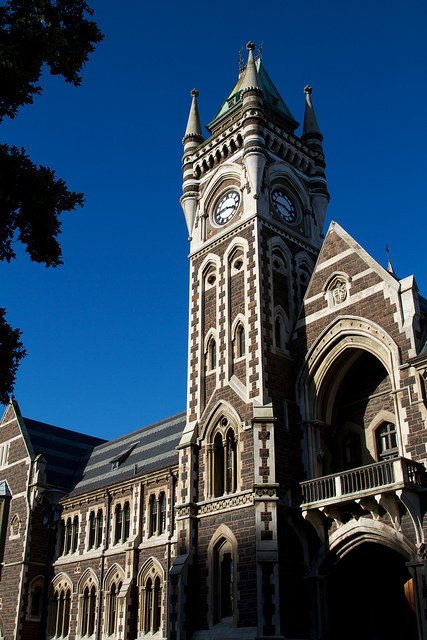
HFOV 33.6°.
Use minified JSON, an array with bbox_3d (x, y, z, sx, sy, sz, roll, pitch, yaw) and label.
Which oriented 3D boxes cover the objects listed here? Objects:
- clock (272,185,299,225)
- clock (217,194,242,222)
[{"bbox_3d":[3.282,-5.181,31.973,0.173,2.118,1.838,-26,-39,37],"label":"clock"},{"bbox_3d":[0.746,-4.902,31.289,0.155,1.311,1.297,27,-37,-34],"label":"clock"}]
